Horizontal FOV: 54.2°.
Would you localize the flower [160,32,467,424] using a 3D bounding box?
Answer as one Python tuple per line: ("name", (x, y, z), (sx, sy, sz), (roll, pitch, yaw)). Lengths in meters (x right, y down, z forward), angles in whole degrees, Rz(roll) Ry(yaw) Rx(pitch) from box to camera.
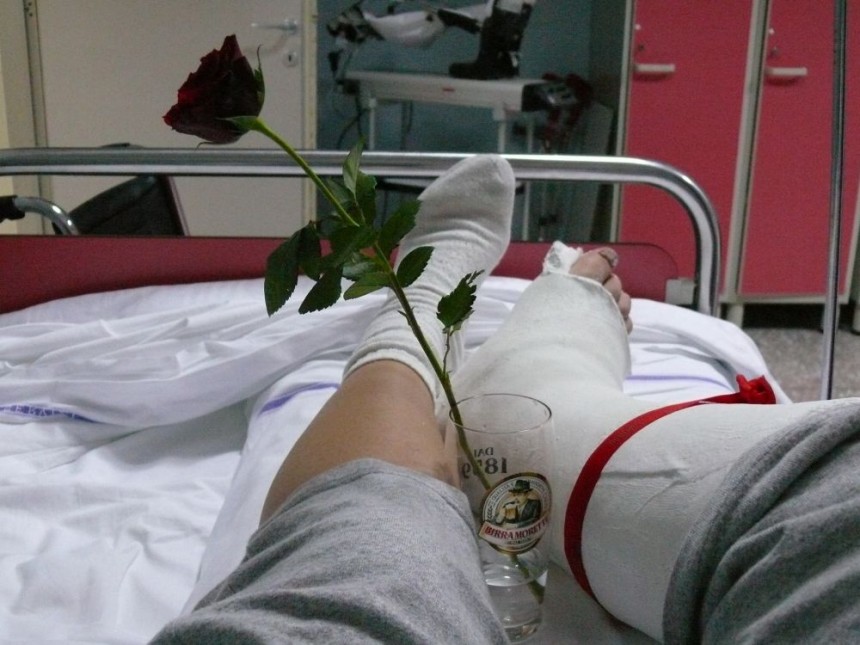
("flower", (-0.099, -0.081, 0.758), (0.268, 0.323, 0.179), (0, 12, -20))
